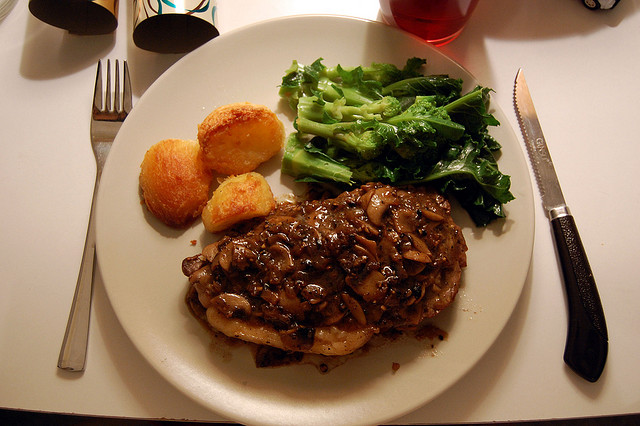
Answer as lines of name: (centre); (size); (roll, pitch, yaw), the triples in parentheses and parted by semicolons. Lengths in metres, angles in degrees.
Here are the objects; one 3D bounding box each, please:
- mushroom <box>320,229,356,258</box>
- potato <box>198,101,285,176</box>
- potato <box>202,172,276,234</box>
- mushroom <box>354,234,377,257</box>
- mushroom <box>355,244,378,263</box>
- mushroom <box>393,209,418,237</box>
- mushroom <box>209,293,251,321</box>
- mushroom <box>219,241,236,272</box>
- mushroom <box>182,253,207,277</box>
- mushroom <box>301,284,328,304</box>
mushroom: (0.130, 0.231, 3.859); (0.200, 0.062, 0.189); (7, 82, 3)
potato: (-0.651, -0.629, 4.340); (0.654, 0.356, 0.458); (-31, 69, -19)
potato: (-0.662, -0.089, 4.330); (0.596, 0.344, 0.383); (-8, 63, -9)
mushroom: (0.335, 0.242, 3.923); (0.195, 0.058, 0.103); (35, 84, -8)
mushroom: (0.334, 0.310, 3.910); (0.188, 0.041, 0.061); (29, 64, 9)
mushroom: (0.617, 0.075, 3.947); (0.171, 0.064, 0.184); (22, 63, 6)
mushroom: (-0.661, 0.696, 3.988); (0.306, 0.108, 0.161); (7, 62, -1)
mushroom: (-0.689, 0.315, 3.975); (0.126, 0.079, 0.201); (24, 63, 7)
mushroom: (-0.976, 0.398, 4.122); (0.182, 0.104, 0.168); (-30, 69, -19)
mushroom: (-0.038, 0.582, 3.905); (0.148, 0.049, 0.143); (37, 66, 13)
